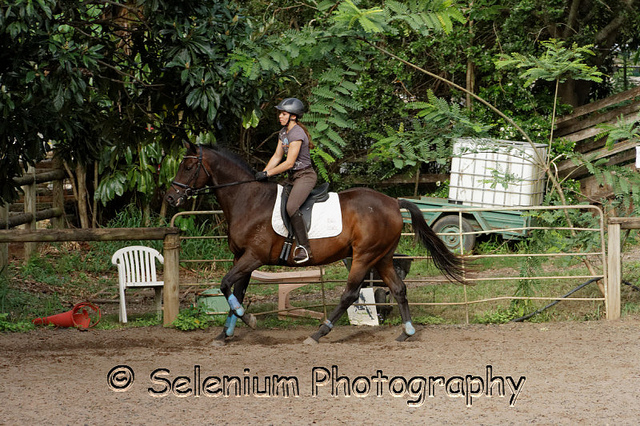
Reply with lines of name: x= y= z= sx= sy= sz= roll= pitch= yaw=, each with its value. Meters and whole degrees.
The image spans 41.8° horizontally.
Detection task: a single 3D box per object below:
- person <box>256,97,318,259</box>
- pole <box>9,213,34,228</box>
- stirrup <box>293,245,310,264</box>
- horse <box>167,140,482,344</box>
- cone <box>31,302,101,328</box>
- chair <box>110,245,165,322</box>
person: x=-0.420 y=-0.519 z=12.460 sx=0.734 sy=2.296 sz=0.772 roll=-2 pitch=15 yaw=-3
pole: x=-5.695 y=0.141 z=15.947 sx=0.153 sy=0.226 sz=0.747 roll=2 pitch=14 yaw=11
stirrup: x=-0.271 y=0.613 z=12.408 sx=0.208 sy=0.260 sz=0.075 roll=-2 pitch=8 yaw=7
horse: x=-0.146 y=0.434 z=12.545 sx=4.155 sy=2.972 sz=1.026 roll=-1 pitch=15 yaw=-2
cone: x=-4.036 y=1.612 z=13.428 sx=0.961 sy=0.486 sz=0.833 roll=-5 pitch=15 yaw=-18
chair: x=-2.953 y=1.162 z=13.994 sx=1.033 sy=1.185 sz=0.968 roll=-1 pitch=2 yaw=-11
